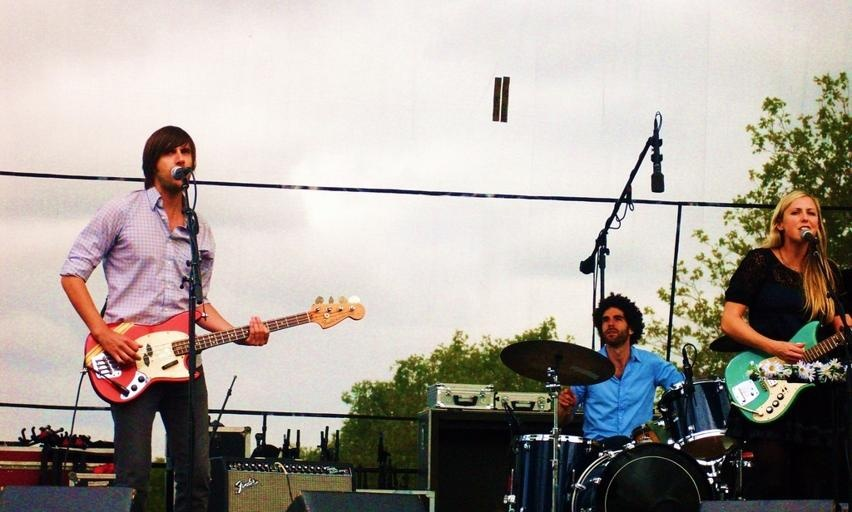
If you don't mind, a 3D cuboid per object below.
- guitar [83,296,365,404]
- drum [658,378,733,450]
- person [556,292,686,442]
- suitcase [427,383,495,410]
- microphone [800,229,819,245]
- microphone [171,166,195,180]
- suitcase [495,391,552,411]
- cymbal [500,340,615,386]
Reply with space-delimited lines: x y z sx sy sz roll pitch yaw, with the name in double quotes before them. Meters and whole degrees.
"guitar" -1.596 0.784 10.866 2.765 1.121 1.497 1 -2 7
"drum" 2.257 1.310 10.165 0.543 0.432 0.561 -8 -38 -6
"person" 1.867 0.931 10.907 0.869 1.322 0.790 1 1 3
"suitcase" 0.363 1.349 11.743 0.637 0.254 0.223 -1 -14 2
"microphone" 3.040 -0.157 9.689 0.123 0.151 0.217 -5 -15 16
"microphone" -1.930 -0.656 9.654 0.136 0.066 0.106 5 0 32
"suitcase" 0.938 1.398 11.779 0.525 0.230 0.232 -1 -14 2
"cymbal" 1.122 0.890 10.461 0.571 0.200 0.563 21 -27 -19
